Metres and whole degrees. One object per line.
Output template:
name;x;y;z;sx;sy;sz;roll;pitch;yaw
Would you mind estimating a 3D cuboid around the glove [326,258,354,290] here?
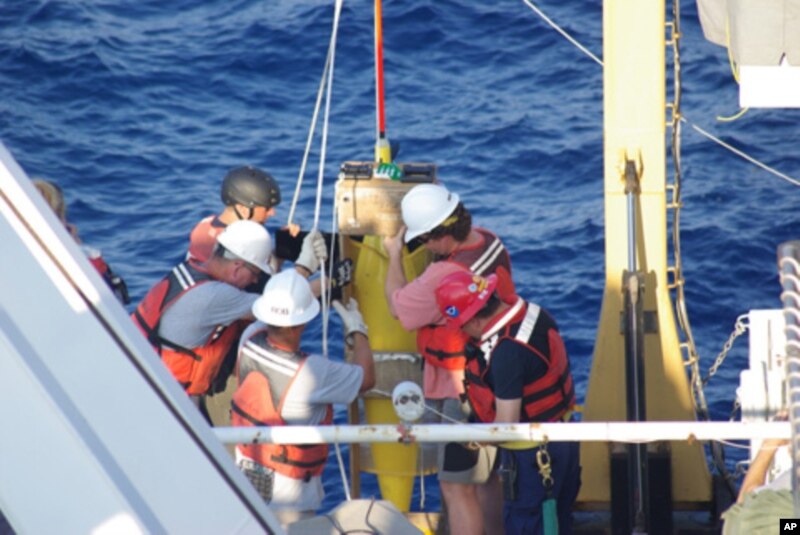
glove;-0.915;0.079;33.947;0.435;0.376;0.357;3;-5;-33
